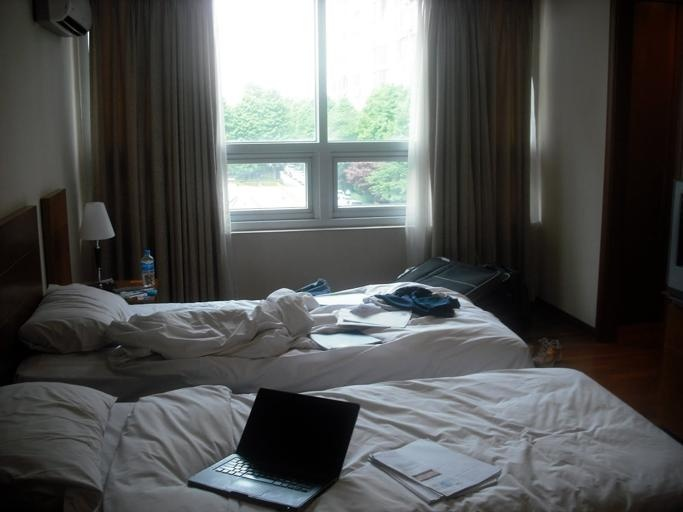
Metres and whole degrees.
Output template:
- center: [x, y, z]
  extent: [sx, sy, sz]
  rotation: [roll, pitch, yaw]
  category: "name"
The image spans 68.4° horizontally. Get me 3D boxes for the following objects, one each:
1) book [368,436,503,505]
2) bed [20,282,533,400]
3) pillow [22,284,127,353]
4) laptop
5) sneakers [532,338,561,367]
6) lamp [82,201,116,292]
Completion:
- center: [0.343, 0.764, 1.827]
  extent: [0.364, 0.075, 0.327]
  rotation: [-10, 12, -32]
  category: "book"
- center: [-0.346, 0.314, 2.791]
  extent: [1.878, 0.451, 1.082]
  rotation: [2, 6, -6]
  category: "bed"
- center: [-1.472, 0.346, 2.725]
  extent: [0.326, 0.145, 0.529]
  rotation: [7, 19, -15]
  category: "pillow"
- center: [-0.237, 0.688, 1.812]
  extent: [0.478, 0.271, 0.435]
  rotation: [2, 12, 29]
  category: "laptop"
- center: [1.332, 0.613, 3.246]
  extent: [0.153, 0.124, 0.300]
  rotation: [1, 11, 24]
  category: "sneakers"
- center: [-1.903, -0.093, 3.971]
  extent: [0.252, 0.683, 0.802]
  rotation: [-9, 11, -26]
  category: "lamp"
